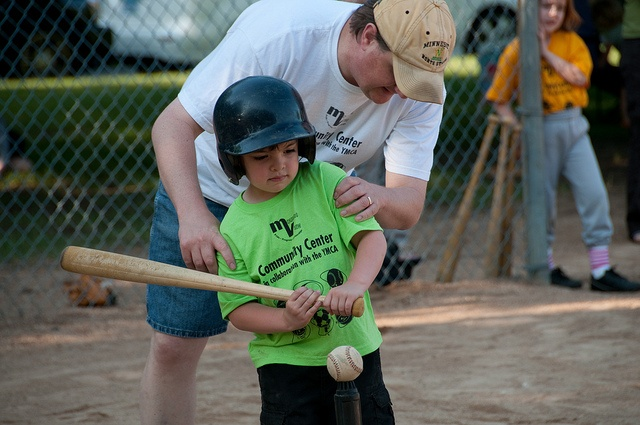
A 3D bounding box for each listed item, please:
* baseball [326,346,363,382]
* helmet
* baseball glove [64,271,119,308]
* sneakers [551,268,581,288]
[{"bbox_3d":[0.118,0.863,4.564,0.165,0.192,0.180,-4,-7,-6],"label":"baseball"},{"bbox_3d":[-0.345,-0.494,4.784,0.448,0.536,0.627,-14,39,-18],"label":"helmet"},{"bbox_3d":[-1.941,0.682,7.021,0.369,0.286,0.227,16,-12,-18],"label":"baseball glove"},{"bbox_3d":[2.042,0.559,6.941,0.296,0.214,0.113,1,5,12],"label":"sneakers"}]
